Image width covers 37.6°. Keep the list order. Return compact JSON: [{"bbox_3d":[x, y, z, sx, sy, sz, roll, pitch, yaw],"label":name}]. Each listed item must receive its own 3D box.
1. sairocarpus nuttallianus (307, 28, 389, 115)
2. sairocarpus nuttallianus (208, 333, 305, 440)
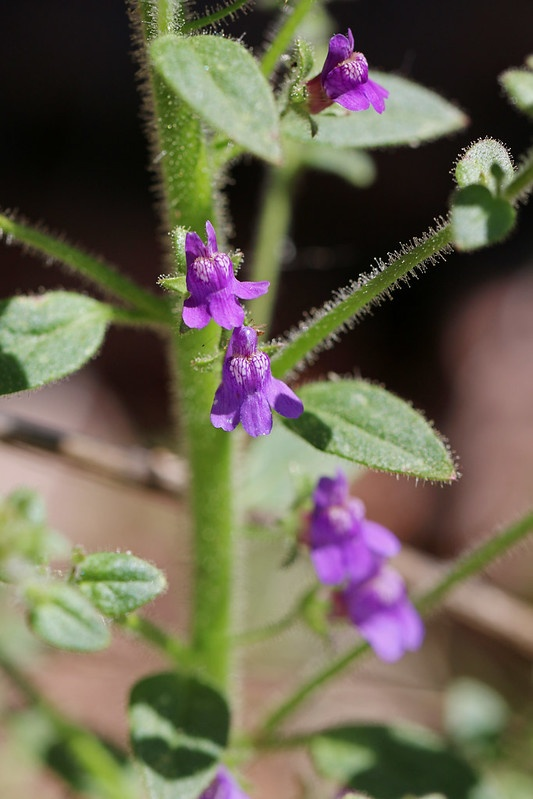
[{"bbox_3d":[0.086,-0.346,0.840,0.085,0.103,0.132,7,37,0],"label":"sairocarpus nuttallianus"},{"bbox_3d":[-0.002,-0.024,0.778,0.095,0.094,0.086,-8,-3,24],"label":"sairocarpus nuttallianus"}]
